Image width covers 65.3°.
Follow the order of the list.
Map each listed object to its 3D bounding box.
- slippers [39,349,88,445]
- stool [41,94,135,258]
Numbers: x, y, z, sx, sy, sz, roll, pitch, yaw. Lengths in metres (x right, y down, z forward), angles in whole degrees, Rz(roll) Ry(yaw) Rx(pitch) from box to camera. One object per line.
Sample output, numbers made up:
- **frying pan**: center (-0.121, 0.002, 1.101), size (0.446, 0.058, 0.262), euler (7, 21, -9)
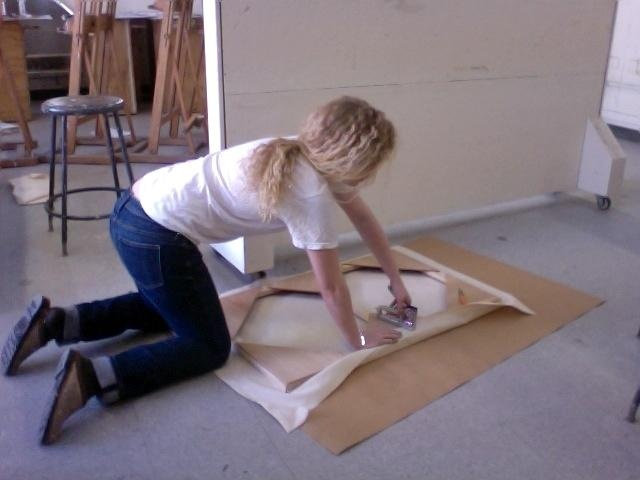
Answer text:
- **slippers**: center (-0.955, 0.596, 1.899), size (0.126, 0.395, 0.090), euler (21, -5, -33)
- **stool**: center (-1.612, -0.455, 3.476), size (0.641, 1.033, 0.670), euler (-3, 14, -12)
